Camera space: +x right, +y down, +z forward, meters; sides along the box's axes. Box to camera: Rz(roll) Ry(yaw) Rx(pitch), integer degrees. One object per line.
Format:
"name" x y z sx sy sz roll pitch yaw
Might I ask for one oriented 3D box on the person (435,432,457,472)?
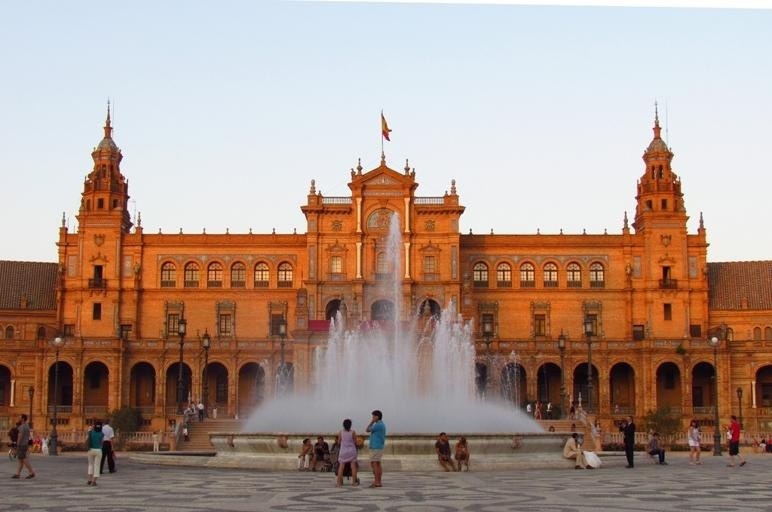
"person" 3.165 10.518 85.703 0.954 2.030 0.889 1 -10 -24

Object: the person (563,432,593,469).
"person" 10.395 10.751 88.091 1.324 1.975 0.460 -4 -9 6

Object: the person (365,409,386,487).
"person" -0.565 9.839 81.305 0.864 3.924 1.306 -2 -9 -4

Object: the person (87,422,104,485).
"person" -15.108 10.167 82.251 0.811 3.327 1.583 -1 -9 -10

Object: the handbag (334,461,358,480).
"handbag" -2.133 11.112 82.758 0.934 1.124 1.185 2 8 3
